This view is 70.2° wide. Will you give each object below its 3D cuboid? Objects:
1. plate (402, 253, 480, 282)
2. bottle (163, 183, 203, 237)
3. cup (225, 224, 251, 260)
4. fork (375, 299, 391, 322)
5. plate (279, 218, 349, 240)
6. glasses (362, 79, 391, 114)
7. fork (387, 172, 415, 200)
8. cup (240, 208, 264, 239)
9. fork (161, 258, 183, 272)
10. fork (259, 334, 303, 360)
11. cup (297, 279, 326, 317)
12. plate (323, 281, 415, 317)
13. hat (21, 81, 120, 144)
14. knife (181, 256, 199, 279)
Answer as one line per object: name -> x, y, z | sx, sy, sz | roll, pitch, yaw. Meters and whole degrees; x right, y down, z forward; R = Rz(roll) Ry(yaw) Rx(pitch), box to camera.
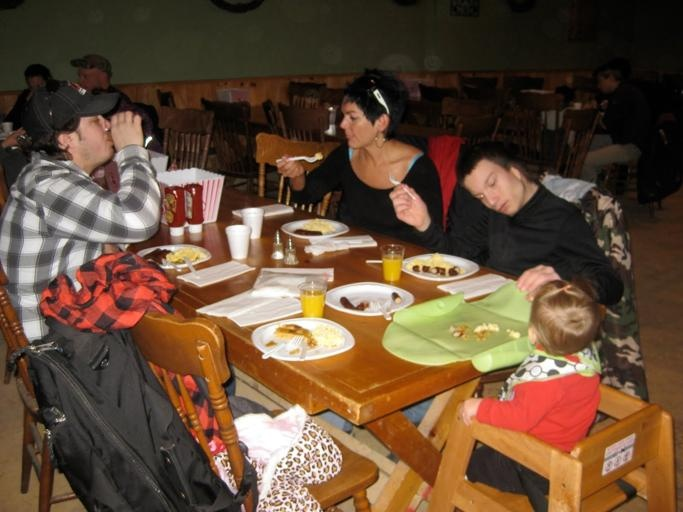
plate -> 0.348, 0.042, 1.760 | 0.155, 0.024, 0.151 | -14, 23, -36
bottle -> -0.676, -0.197, 2.088 | 0.166, 0.250, 0.138 | -11, 23, -31
cup -> -0.386, -0.055, 1.888 | 0.119, 0.130, 0.117 | 0, 17, 0
fork -> 0.129, 0.161, 1.469 | 0.037, 0.014, 0.056 | -8, 30, -4
plate -> -0.117, -0.126, 2.142 | 0.270, 0.058, 0.270 | 6, 15, 24
glasses -> 0.182, -0.769, 2.356 | 0.035, 0.141, 0.113 | -23, 21, 44
fork -> 0.233, -0.310, 2.052 | 0.057, 0.059, 0.238 | -40, 31, 6
cup -> -0.351, -0.144, 2.023 | 0.117, 0.129, 0.116 | 1, 19, 0
fork -> -0.629, 0.026, 1.791 | 0.029, 0.021, 0.138 | -42, 35, -25
fork -> -0.154, 0.237, 1.264 | 0.020, 0.017, 0.116 | 24, 32, 32
cup -> -0.081, 0.121, 1.406 | 0.094, 0.104, 0.097 | 1, 0, 0
plate -> 0.084, 0.133, 1.532 | 0.263, 0.046, 0.216 | 6, 15, 26
hat -> -0.928, -0.490, 1.691 | 0.277, 0.145, 0.179 | -32, 29, -12
knife -> -0.534, 0.037, 1.720 | 0.032, 0.028, 0.182 | -35, 35, 1
